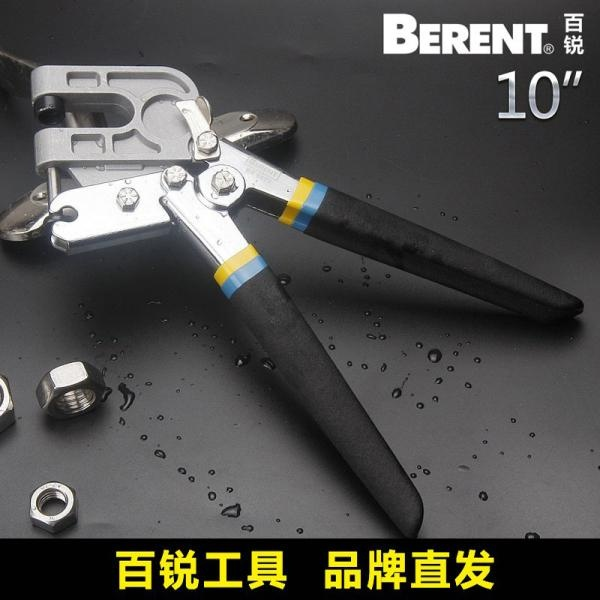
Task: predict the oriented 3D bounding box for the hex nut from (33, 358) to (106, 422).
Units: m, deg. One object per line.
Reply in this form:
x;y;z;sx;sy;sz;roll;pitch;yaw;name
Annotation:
-0.275;0.111;0.870;0.080;0.031;0.067;2;-45;-25;hex nut
